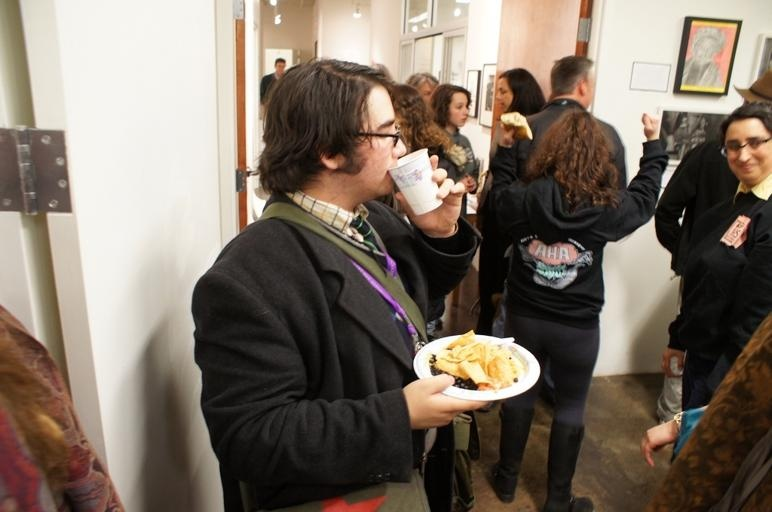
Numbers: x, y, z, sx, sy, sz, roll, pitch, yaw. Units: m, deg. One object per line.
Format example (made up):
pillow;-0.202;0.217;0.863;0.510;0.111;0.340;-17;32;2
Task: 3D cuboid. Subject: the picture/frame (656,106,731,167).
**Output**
picture/frame;1.913;-0.761;3.281;0.554;0.402;0.023;-4;12;-11

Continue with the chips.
chips;0.291;0.305;1.612;0.208;0.136;0.247;-2;15;-20

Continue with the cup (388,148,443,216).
cup;0.096;-0.224;1.695;0.175;0.189;0.180;-28;18;10
